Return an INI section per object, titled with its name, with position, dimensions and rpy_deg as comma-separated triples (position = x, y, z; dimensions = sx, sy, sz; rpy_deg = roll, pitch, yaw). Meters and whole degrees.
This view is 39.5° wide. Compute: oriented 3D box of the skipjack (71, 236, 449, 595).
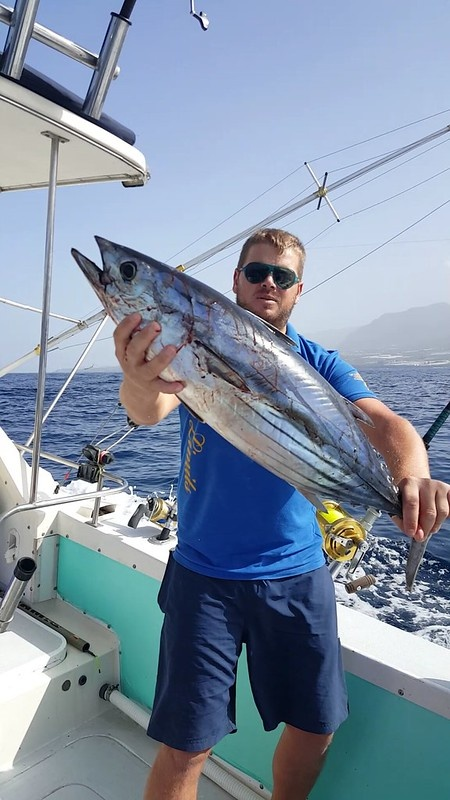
[skipjack]
position = 0.077, -0.005, 1.516
dimensions = 1.151, 0.327, 0.199
rpy_deg = 37, -16, -4

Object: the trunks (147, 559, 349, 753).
[trunks]
position = 0.080, 0.728, 1.760
dimensions = 0.648, 0.621, 0.268
rpy_deg = 6, -37, -8

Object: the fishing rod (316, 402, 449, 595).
[fishing rod]
position = 0.482, 0.249, 2.030
dimensions = 0.320, 0.830, 0.342
rpy_deg = -2, -42, 11
